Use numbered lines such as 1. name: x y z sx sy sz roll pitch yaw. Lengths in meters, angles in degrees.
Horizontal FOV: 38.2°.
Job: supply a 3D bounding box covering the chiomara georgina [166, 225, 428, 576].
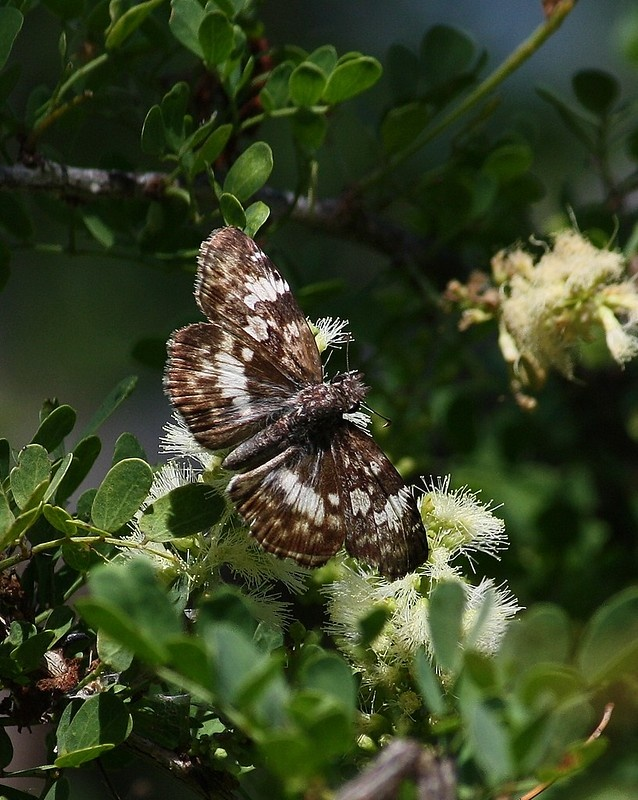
1. chiomara georgina: -0.033 0.021 1.420 0.343 0.554 0.196 4 -28 -28
